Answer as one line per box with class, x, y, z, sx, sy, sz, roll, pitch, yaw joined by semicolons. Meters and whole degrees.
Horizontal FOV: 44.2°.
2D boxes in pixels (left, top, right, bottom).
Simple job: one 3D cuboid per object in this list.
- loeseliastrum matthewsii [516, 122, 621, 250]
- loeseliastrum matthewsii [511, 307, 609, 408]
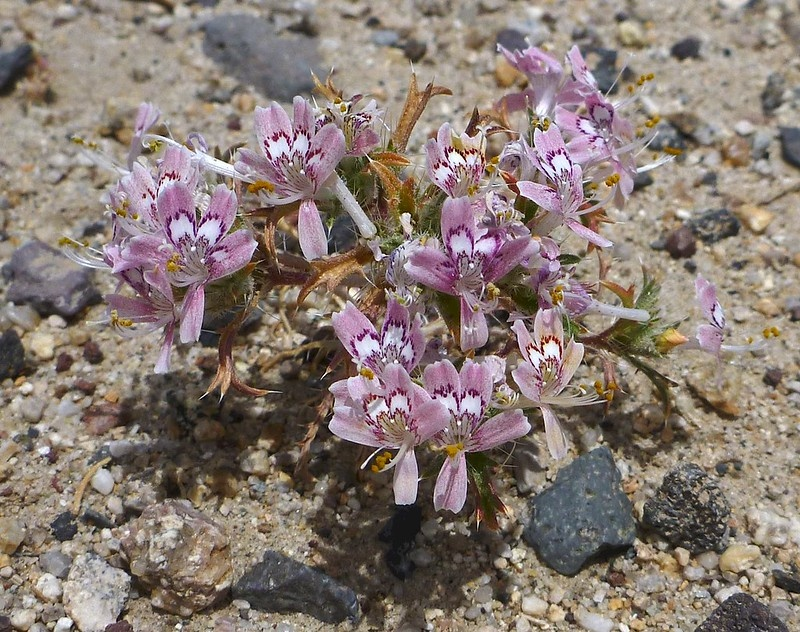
loeseliastrum matthewsii;0.928;-0.781;5.809;0.451;0.551;0.757;0;103;-38
loeseliastrum matthewsii;0.910;0.242;5.638;0.399;0.420;0.571;8;100;20
